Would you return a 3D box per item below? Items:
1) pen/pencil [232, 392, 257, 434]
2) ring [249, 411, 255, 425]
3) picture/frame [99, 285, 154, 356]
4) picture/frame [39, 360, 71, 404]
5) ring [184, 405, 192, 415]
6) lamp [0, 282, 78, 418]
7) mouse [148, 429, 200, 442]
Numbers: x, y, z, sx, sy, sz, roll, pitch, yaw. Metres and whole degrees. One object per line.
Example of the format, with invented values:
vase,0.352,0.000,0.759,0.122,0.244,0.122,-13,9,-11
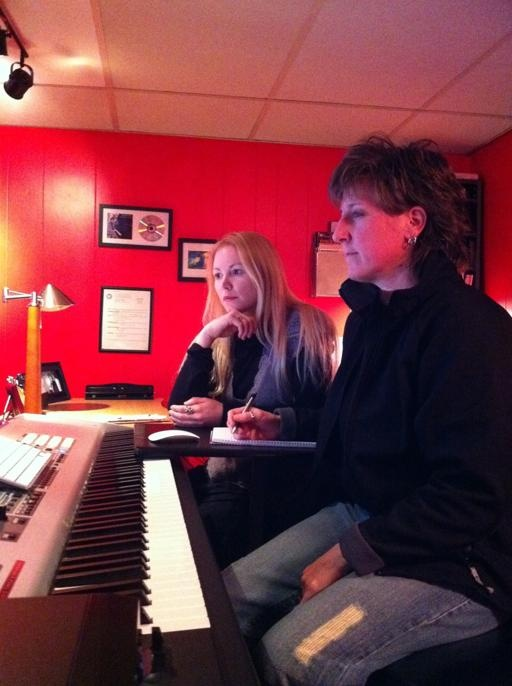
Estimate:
pen/pencil,-0.035,0.219,1.760,0.021,0.140,0.020,37,18,-11
ring,-0.010,0.220,1.663,0.012,0.028,0.023,4,-1,-2
picture/frame,-0.803,-0.144,3.402,0.474,0.549,0.020,0,3,-10
picture/frame,-1.061,0.207,2.946,0.122,0.205,0.214,-17,11,-7
ring,-0.226,0.221,1.868,0.019,0.024,0.009,-22,-29,0
lamp,-1.003,0.002,2.572,0.316,0.551,1.036,-1,2,-17
mouse,-0.217,0.243,1.487,0.088,0.021,0.051,2,0,-23
